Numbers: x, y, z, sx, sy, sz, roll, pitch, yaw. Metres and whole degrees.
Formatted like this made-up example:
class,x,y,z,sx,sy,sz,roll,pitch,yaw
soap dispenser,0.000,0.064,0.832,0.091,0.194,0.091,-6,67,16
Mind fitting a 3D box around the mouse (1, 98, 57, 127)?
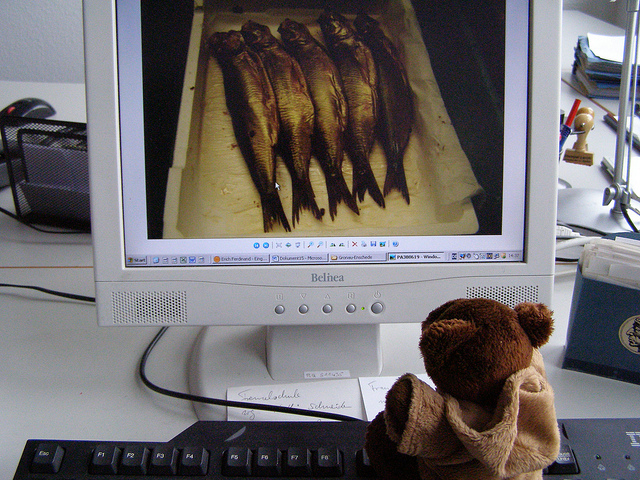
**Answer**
class,x,y,z,sx,sy,sz,roll,pitch,yaw
mouse,-0.673,-0.289,1.395,0.056,0.048,0.180,4,24,9
